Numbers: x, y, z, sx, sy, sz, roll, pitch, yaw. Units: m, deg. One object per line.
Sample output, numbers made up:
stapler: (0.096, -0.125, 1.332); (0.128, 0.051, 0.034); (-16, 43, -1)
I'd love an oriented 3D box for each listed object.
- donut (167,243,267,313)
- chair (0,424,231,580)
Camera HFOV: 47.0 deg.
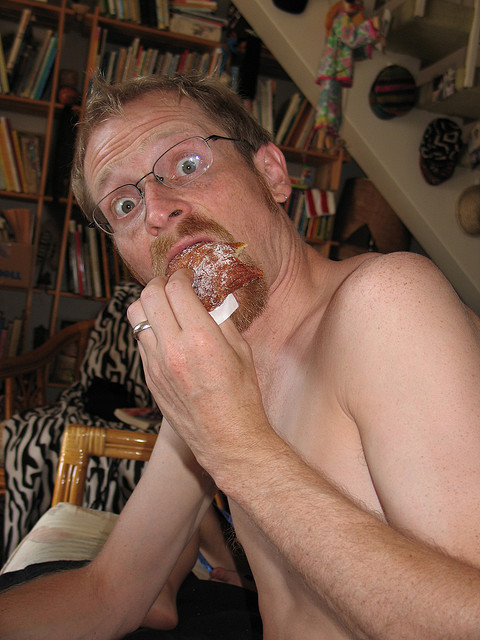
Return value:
donut: (-0.015, -0.062, 0.918); (0.201, 0.169, 0.052); (15, 78, -1)
chair: (-0.329, 0.400, 1.214); (0.181, 0.240, 0.354); (18, 65, 12)
